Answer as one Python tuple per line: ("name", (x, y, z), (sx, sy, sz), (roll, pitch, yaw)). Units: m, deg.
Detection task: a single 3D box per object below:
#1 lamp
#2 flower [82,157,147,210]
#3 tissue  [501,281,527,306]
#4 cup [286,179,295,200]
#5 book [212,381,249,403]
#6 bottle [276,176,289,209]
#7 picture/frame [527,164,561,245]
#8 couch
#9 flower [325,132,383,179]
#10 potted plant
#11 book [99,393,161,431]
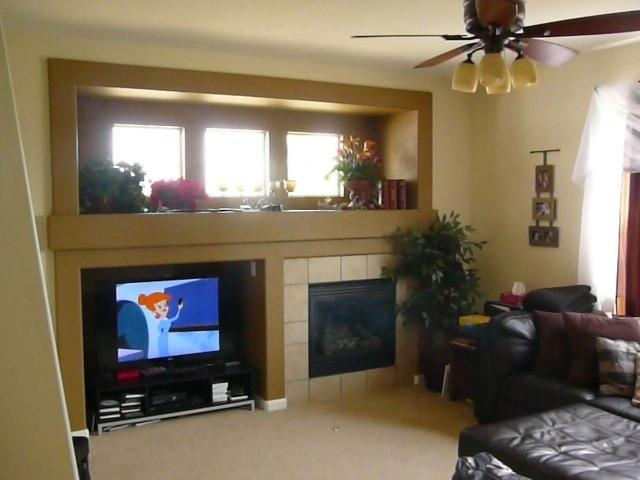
("lamp", (0.947, -0.968, 2.987), (0.427, 0.225, 0.372), (-2, 2, -28))
("flower", (-1.714, -0.438, 4.305), (0.526, 0.436, 0.157), (-4, 5, -17))
("tissue ", (1.817, 0.496, 4.926), (0.205, 0.220, 0.217), (-1, 5, -9))
("cup", (-0.316, -0.497, 5.139), (0.116, 0.166, 0.121), (0, 3, 0))
("book", (-0.840, 1.368, 4.699), (0.205, 0.078, 0.210), (1, -1, -25))
("bottle", (-0.384, -0.455, 5.226), (0.094, 0.300, 0.153), (-2, 5, 7))
("picture/frame", (2.064, -0.315, 4.926), (0.110, 0.774, 0.323), (-6, 6, -36))
("couch", (1.747, 0.956, 4.073), (1.134, 0.868, 0.663), (2, -5, 43))
("flower", (0.343, -0.797, 5.405), (0.486, 0.535, 0.520), (1, 5, -19))
("potted plant", (1.318, 0.504, 5.680), (1.323, 1.884, 1.169), (0, 0, -44))
("book", (-1.668, 1.402, 4.387), (0.322, 0.162, 0.252), (1, -1, -33))
